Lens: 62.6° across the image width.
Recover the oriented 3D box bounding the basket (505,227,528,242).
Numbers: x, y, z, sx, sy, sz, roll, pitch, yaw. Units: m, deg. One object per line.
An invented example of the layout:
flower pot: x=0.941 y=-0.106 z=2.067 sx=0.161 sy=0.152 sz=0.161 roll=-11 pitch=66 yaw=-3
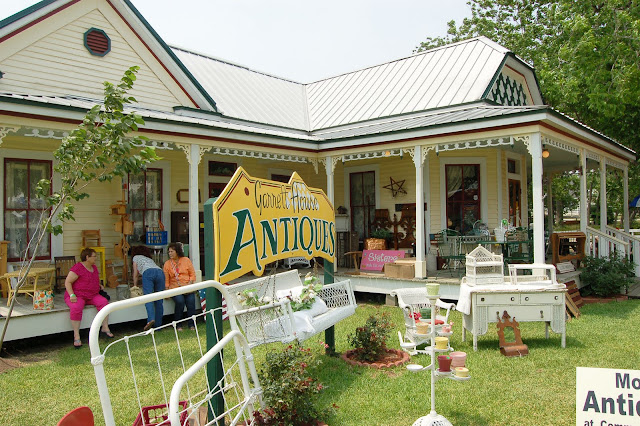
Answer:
basket: x=5.385 y=0.551 z=14.372 sx=0.378 sy=0.375 sz=1.218 roll=-5 pitch=-5 yaw=31

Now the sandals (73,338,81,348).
sandals: x=-5.075 y=2.724 z=11.054 sx=0.145 sy=0.171 sz=0.244 roll=0 pitch=-5 yaw=-24

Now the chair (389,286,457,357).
chair: x=2.032 y=2.090 z=10.362 sx=1.104 sy=1.160 sz=0.983 roll=1 pitch=-8 yaw=-28

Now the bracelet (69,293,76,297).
bracelet: x=-5.163 y=1.712 z=11.049 sx=0.061 sy=0.063 sz=0.062 roll=-17 pitch=-8 yaw=31

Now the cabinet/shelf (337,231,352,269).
cabinet/shelf: x=0.771 y=1.146 z=16.883 sx=0.463 sy=1.155 sz=0.350 roll=-2 pitch=-4 yaw=3

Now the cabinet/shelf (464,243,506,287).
cabinet/shelf: x=3.486 y=1.067 z=11.139 sx=0.698 sy=0.829 sz=0.458 roll=-1 pitch=-3 yaw=-12

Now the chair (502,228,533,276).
chair: x=5.248 y=1.030 z=14.053 sx=1.068 sy=1.082 sz=1.083 roll=3 pitch=11 yaw=29

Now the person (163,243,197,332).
person: x=-3.285 y=1.662 z=12.384 sx=0.750 sy=1.962 sz=0.685 roll=-1 pitch=-4 yaw=-16

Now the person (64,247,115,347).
person: x=-4.994 y=1.781 z=11.239 sx=0.744 sy=2.061 sz=0.361 roll=1 pitch=-5 yaw=-33

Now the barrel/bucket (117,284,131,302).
barrel/bucket: x=-4.508 y=1.811 z=12.168 sx=0.312 sy=0.332 sz=0.436 roll=-1 pitch=-4 yaw=-22

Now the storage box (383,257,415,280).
storage box: x=2.175 y=1.521 z=14.254 sx=0.897 sy=0.504 sz=0.297 roll=-6 pitch=-6 yaw=41

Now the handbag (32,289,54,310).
handbag: x=-5.835 y=1.818 z=11.094 sx=0.383 sy=0.390 sz=0.390 roll=-1 pitch=-3 yaw=8
